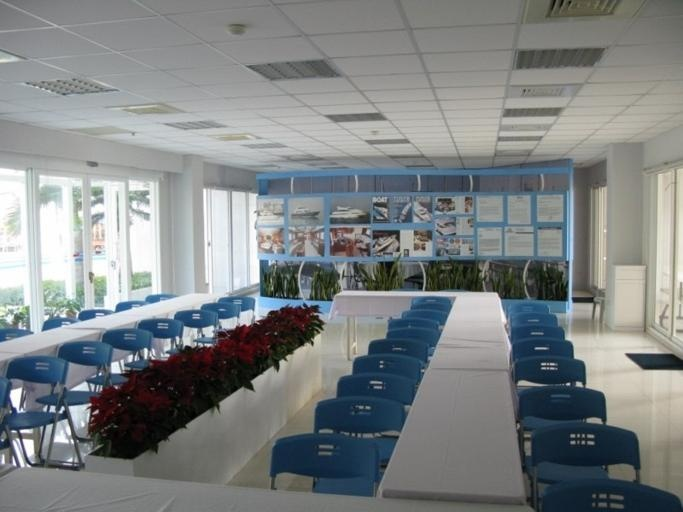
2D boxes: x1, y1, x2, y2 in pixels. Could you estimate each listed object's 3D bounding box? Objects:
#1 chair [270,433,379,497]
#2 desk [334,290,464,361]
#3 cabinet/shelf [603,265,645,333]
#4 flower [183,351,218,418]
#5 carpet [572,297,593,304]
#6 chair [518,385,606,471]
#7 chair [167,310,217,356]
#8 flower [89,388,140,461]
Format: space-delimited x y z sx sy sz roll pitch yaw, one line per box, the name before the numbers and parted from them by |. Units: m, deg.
chair | -0.084 1.172 2.767 0.578 0.456 0.458 0 6 2
desk | 0.850 1.079 7.698 1.934 0.739 0.783 -2 -14 16
cabinet/shelf | 5.377 0.771 9.238 0.538 1.215 0.440 1 7 9
flower | -1.048 0.981 3.754 0.178 0.327 0.530 -2 6 -15
carpet | 6.093 1.098 12.392 0.464 0.044 1.262 3 6 26
chair | 1.419 1.096 3.108 0.556 0.436 0.438 -3 -14 13
chair | -1.906 0.973 6.695 0.623 0.567 0.822 -16 8 -21
flower | -1.401 1.024 3.054 0.317 0.355 0.404 -3 7 -27
